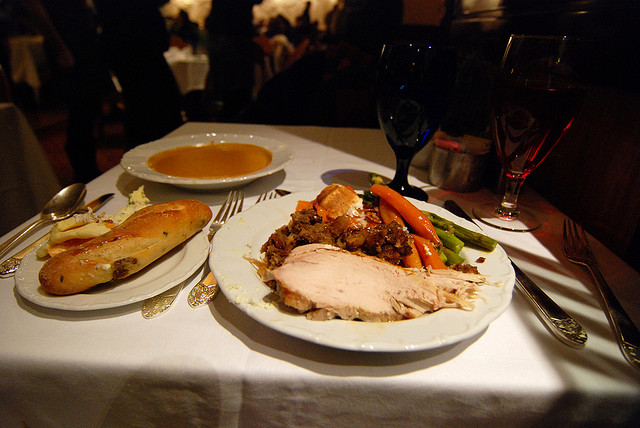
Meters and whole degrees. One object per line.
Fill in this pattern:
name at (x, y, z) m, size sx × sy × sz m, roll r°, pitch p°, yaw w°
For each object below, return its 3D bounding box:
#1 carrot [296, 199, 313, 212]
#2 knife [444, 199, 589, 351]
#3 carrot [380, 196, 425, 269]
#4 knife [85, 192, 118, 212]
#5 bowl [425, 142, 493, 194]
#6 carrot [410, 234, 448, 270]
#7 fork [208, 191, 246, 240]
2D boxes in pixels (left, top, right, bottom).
carrot at (-0.068, -0.028, 1.987) m, size 0.054 × 0.016 × 0.054 m, roll 25°, pitch 47°, yaw 16°
knife at (0.774, 0.205, 1.832) m, size 0.088 × 0.044 × 0.758 m, roll -12°, pitch 38°, yaw -10°
carrot at (0.319, 0.043, 1.902) m, size 0.073 × 0.063 × 0.418 m, roll 13°, pitch 36°, yaw -32°
knife at (-1.015, -0.063, 2.101) m, size 0.047 × 0.017 × 0.193 m, roll 19°, pitch 26°, yaw 3°
bowl at (0.714, -0.243, 2.322) m, size 0.262 × 0.166 × 0.261 m, roll 9°, pitch 30°, yaw -5°
carrot at (0.428, 0.154, 1.814) m, size 0.039 × 0.032 × 0.151 m, roll -3°, pitch 44°, yaw -36°
fork at (-0.412, 0.009, 2.055) m, size 0.053 × 0.055 × 0.378 m, roll 3°, pitch 39°, yaw 8°
